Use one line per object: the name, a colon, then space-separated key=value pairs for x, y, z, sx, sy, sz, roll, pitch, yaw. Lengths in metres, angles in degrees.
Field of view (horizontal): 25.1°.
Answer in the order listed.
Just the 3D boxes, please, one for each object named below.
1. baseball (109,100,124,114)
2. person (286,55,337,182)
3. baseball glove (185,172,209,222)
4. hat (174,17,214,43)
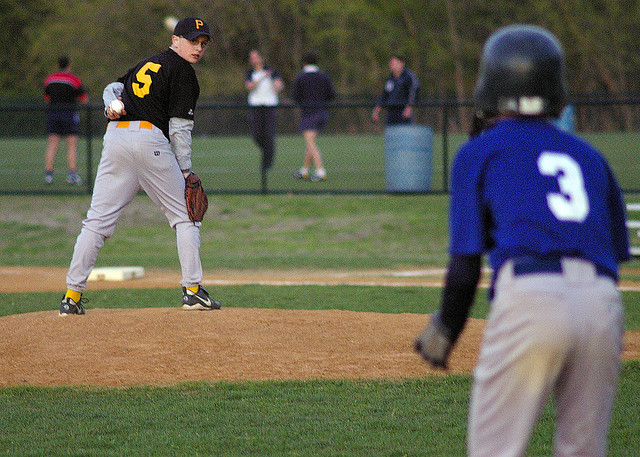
baseball: x=-2.918 y=-1.747 z=20.686 sx=0.171 sy=0.191 sz=0.186 roll=7 pitch=5 yaw=43
person: x=-0.126 y=-1.936 z=25.360 sx=0.772 sy=2.253 sz=1.041 roll=0 pitch=7 yaw=-1
baseball glove: x=-1.804 y=-0.442 z=20.930 sx=0.315 sy=0.728 sz=0.252 roll=-1 pitch=7 yaw=-3
hat: x=-1.819 y=-2.894 z=20.791 sx=0.487 sy=0.287 sz=0.356 roll=6 pitch=7 yaw=43
